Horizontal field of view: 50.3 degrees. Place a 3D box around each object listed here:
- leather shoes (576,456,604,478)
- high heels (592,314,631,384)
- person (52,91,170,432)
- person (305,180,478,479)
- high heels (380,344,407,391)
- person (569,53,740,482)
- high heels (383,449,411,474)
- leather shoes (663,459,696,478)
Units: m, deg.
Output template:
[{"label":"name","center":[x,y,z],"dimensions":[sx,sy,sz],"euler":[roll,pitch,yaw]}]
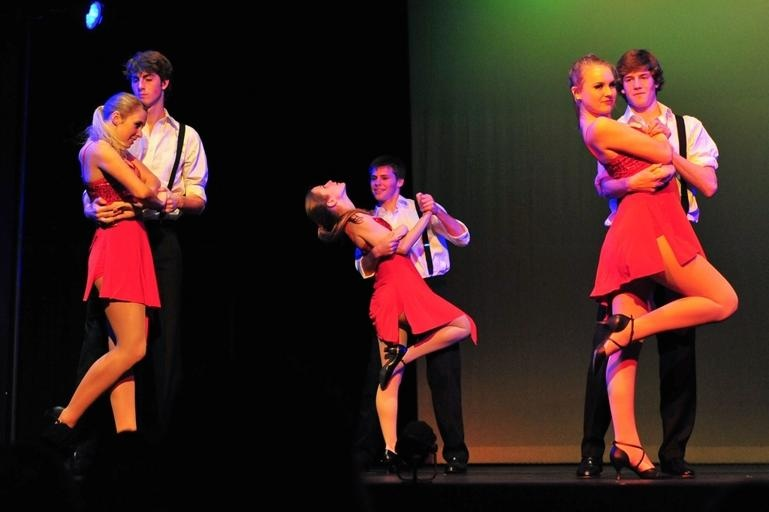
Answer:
[{"label":"leather shoes","center":[1.122,1.210,4.658],"dimensions":[0.107,0.128,0.328],"euler":[-3,-15,13]},{"label":"high heels","center":[1.134,0.492,4.408],"dimensions":[0.159,0.384,0.136],"euler":[18,-1,-31]},{"label":"person","center":[-1.433,0.025,4.550],"dimensions":[0.549,1.881,0.372],"euler":[0,3,-16]},{"label":"person","center":[0.056,0.319,5.036],"dimensions":[0.705,1.529,0.764],"euler":[-2,4,-44]},{"label":"high heels","center":[0.038,0.634,4.766],"dimensions":[0.104,0.286,0.103],"euler":[25,-16,-18]},{"label":"person","center":[1.373,0.023,4.502],"dimensions":[0.826,2.278,0.519],"euler":[1,3,11]},{"label":"high heels","center":[0.073,1.170,4.568],"dimensions":[0.110,0.145,0.337],"euler":[0,-1,14]},{"label":"leather shoes","center":[1.541,1.180,4.517],"dimensions":[0.078,0.093,0.217],"euler":[2,-12,-32]}]
